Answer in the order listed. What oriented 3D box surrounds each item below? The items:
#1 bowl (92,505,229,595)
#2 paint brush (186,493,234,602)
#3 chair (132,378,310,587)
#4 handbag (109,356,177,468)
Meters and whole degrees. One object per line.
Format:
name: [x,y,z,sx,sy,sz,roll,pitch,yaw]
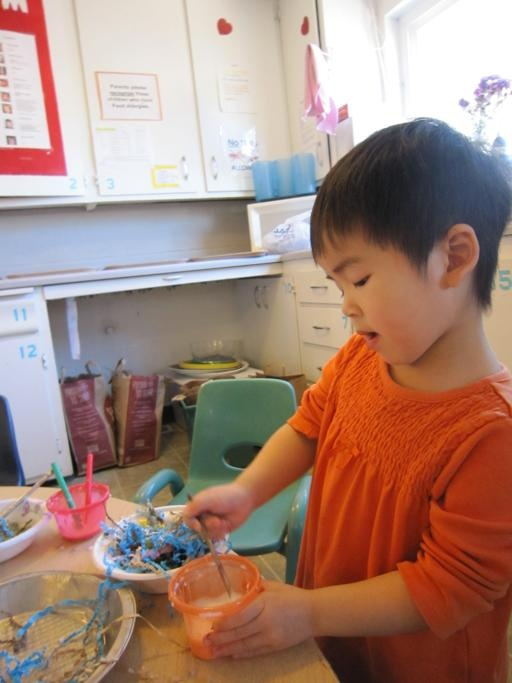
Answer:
bowl: [-0.127,0.264,0.646,0.158,0.048,0.160,14,5,-1]
paint brush: [-0.054,0.235,0.590,0.014,0.108,0.005,-4,-27,-50]
chair: [-0.052,0.399,1.232,0.409,0.560,0.373,-1,6,15]
handbag: [-0.576,0.347,2.487,0.299,0.434,0.268,2,-2,-11]
